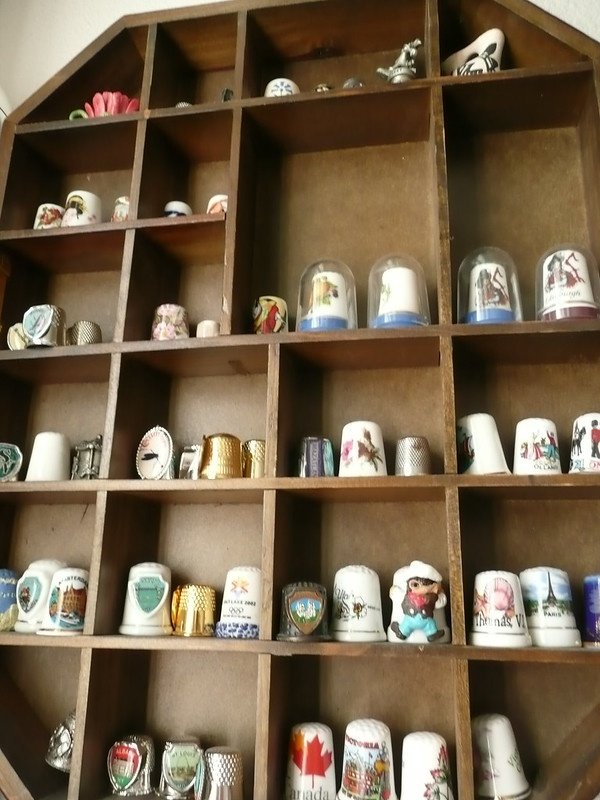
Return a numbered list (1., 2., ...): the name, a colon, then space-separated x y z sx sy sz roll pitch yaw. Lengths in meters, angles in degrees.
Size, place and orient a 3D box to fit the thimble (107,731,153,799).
1. thimble: -0.314 0.674 1.218 0.065 0.117 0.086 -1 -15 -3
